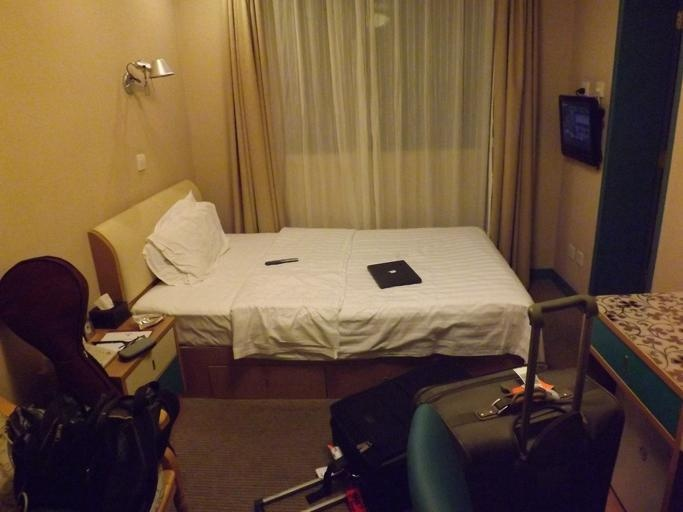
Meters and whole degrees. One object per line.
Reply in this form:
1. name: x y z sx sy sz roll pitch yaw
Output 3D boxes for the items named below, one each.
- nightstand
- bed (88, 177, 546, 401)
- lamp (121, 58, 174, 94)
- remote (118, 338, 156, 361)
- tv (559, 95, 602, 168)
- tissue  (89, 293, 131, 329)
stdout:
1. nightstand: -1.334 0.625 3.301 0.321 0.400 0.624 2 33 10
2. bed: -0.169 0.283 3.932 2.329 1.081 1.718 -3 28 1
3. lamp: -1.484 -1.360 4.041 0.403 0.265 0.183 -1 16 -1
4. remote: -1.240 0.560 3.210 0.093 0.039 0.188 12 23 18
5. tv: 1.998 -1.055 4.396 0.168 0.566 0.539 -11 21 -5
6. tissue : -1.540 0.380 3.587 0.225 0.242 0.219 0 22 0
